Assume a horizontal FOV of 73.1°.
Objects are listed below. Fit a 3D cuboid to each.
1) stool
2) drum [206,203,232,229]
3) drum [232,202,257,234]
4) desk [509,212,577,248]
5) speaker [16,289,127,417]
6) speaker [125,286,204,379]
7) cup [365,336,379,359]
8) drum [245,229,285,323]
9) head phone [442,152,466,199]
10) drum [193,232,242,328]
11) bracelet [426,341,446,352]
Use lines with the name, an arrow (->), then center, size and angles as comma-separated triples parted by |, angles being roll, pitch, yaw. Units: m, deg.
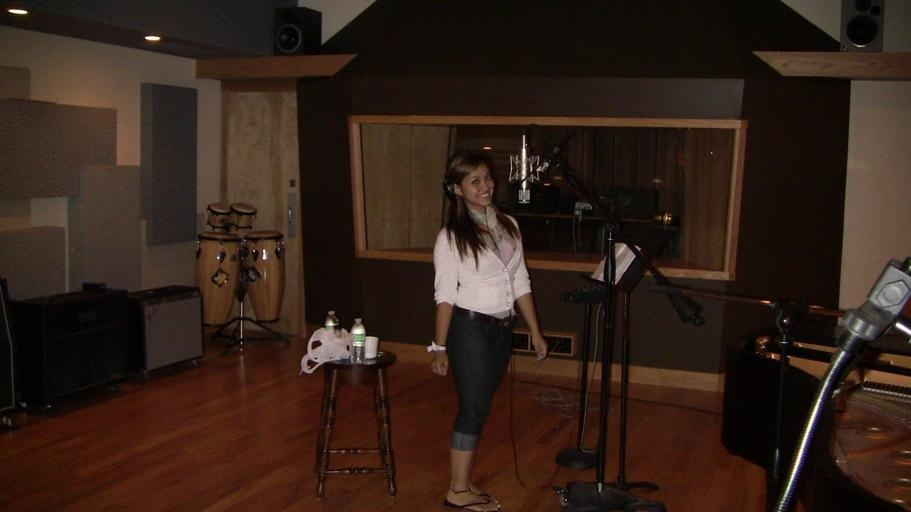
stool -> -0.876, 1.393, 5.325 | 0.702, 1.166, 0.644 | -1, 9, -7
drum -> -3.043, -0.543, 7.936 | 0.340, 0.294, 0.315 | 14, 27, -11
drum -> -2.749, -0.487, 7.930 | 0.374, 0.337, 0.347 | 11, 12, 29
desk -> 1.171, -0.490, 7.980 | 0.757, 0.448, 0.470 | 2, 16, 8
speaker -> -4.030, 1.032, 6.396 | 0.702, 1.155, 1.214 | 0, 6, 20
speaker -> -3.380, 0.890, 7.063 | 0.646, 1.000, 1.054 | -2, 0, 35
cup -> -0.713, 0.756, 5.163 | 0.093, 0.178, 0.148 | 0, 8, -2
drum -> -2.481, 0.268, 8.004 | 0.487, 1.193, 0.207 | -2, 10, -18
head phone -> -0.036, -0.638, 4.871 | 0.152, 0.316, 0.260 | 6, 13, -20
drum -> -3.028, 0.300, 7.856 | 0.547, 1.227, 0.236 | -3, 10, -22
bracelet -> -0.165, 0.702, 4.781 | 0.151, 0.074, 0.145 | 4, 8, 23
